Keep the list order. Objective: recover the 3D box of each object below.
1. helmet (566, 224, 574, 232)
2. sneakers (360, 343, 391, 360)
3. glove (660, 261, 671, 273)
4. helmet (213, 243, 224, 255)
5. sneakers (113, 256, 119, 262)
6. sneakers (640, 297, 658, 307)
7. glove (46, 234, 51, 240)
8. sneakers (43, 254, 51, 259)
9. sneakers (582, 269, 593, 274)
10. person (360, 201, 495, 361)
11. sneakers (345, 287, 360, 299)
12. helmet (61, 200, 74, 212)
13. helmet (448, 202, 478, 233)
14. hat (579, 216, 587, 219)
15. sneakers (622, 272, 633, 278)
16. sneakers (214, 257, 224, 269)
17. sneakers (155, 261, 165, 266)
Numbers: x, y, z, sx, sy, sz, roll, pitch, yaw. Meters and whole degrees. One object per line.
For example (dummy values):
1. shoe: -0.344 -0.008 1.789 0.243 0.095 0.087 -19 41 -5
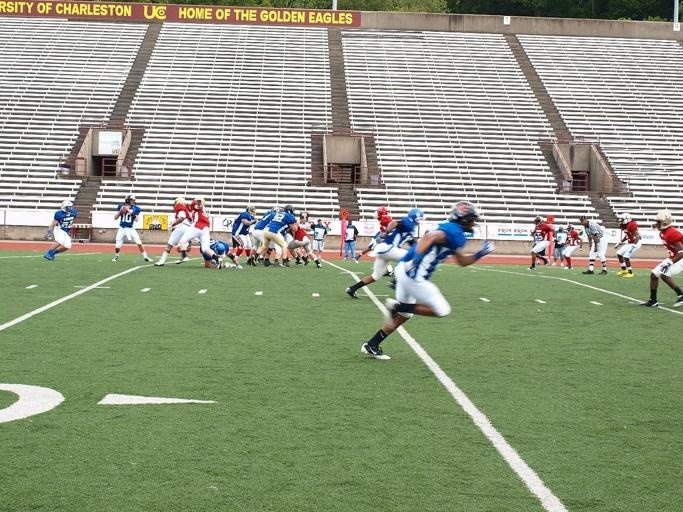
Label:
1. helmet: 8.019 -0.984 24.827 0.338 0.273 0.237 1 -4 -17
2. sneakers: 0.365 1.042 7.797 0.349 0.133 0.131 21 23 1
3. glove: 5.679 0.177 12.578 0.149 0.211 0.070 15 7 -22
4. helmet: -3.290 -0.193 19.470 0.360 0.244 0.318 19 -18 -23
5. sneakers: -6.468 0.052 20.475 0.179 0.158 0.429 3 -1 -5
6. sneakers: 5.500 0.802 12.750 0.263 0.141 0.318 4 5 23
7. glove: -11.127 -0.769 27.183 0.244 0.236 0.585 2 -2 -19
8. sneakers: -8.312 0.012 20.270 0.133 0.093 0.280 20 -4 -39
9. sneakers: 7.351 0.452 21.313 0.145 0.144 0.396 -1 5 -28
10. person: 1.065 0.317 7.924 1.424 1.777 0.625 7 0 -17
11. sneakers: 0.189 0.638 12.955 0.133 0.100 0.289 -19 26 -5
12. helmet: -7.727 -1.428 20.153 0.260 0.304 0.435 2 4 -4
13. helmet: 1.311 -0.449 7.713 0.367 0.303 0.264 -8 30 -18
14. hat: 7.604 -1.223 22.464 0.167 0.065 0.184 -1 2 14
15. sneakers: 8.173 0.528 20.502 0.172 0.185 0.513 -2 -4 44
16. sneakers: -3.234 0.174 18.860 0.245 0.259 0.661 1 -9 -11
17. sneakers: -4.740 0.188 18.585 0.332 0.112 0.117 6 5 22
